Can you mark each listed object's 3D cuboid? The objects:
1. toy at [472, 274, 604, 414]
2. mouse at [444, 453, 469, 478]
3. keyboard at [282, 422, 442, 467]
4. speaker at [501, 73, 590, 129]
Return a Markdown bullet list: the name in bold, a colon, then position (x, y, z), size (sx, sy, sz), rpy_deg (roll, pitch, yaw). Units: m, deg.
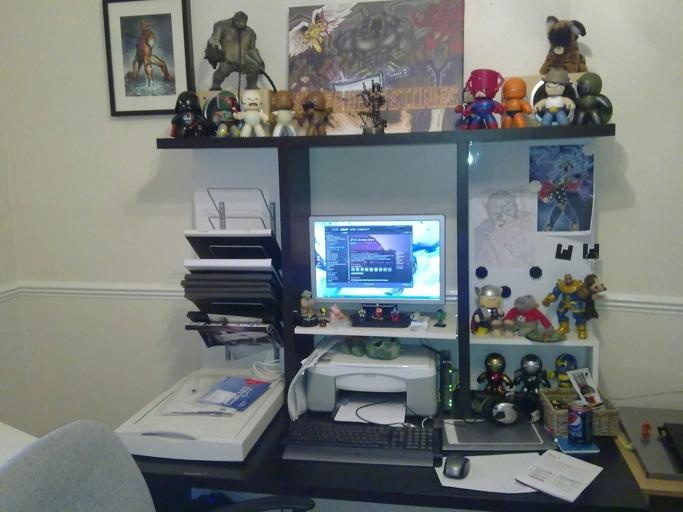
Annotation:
- **toy**: position (0.832, 0.353, 2.594), size (0.524, 0.533, 0.172), rpy_deg (0, 1, 8)
- **mouse**: position (0.411, 0.746, 2.234), size (0.070, 0.075, 0.066), rpy_deg (10, 23, 19)
- **keyboard**: position (0.069, 0.706, 2.368), size (0.436, 0.062, 0.219), rpy_deg (1, 15, 7)
- **speaker**: position (0.789, -0.622, 2.490), size (0.280, 0.214, 0.273), rpy_deg (2, 12, 19)
